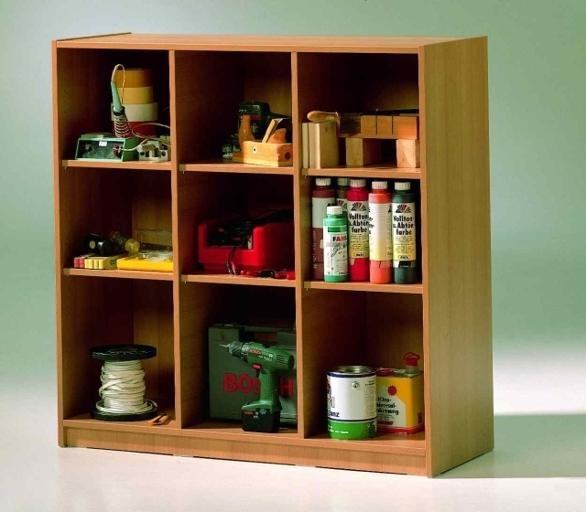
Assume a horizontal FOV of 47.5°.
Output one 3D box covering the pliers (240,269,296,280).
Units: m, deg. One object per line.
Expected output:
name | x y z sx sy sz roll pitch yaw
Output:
pliers | -0.091 0.070 2.508 0.278 0.025 0.125 1 4 32

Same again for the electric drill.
electric drill | -0.136 0.511 2.576 0.280 0.333 0.082 -3 -7 30

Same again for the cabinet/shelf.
cabinet/shelf | -0.124 -0.088 2.650 1.708 1.726 0.689 0 3 22

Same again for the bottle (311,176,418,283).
bottle | 0.269 -0.087 2.325 0.311 0.360 0.108 -1 3 16
